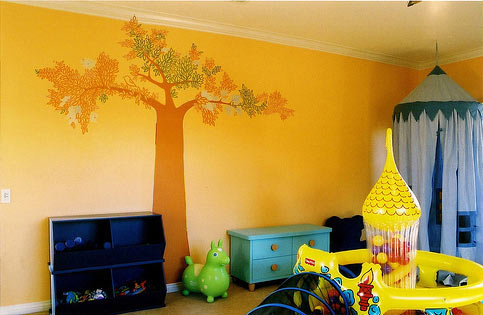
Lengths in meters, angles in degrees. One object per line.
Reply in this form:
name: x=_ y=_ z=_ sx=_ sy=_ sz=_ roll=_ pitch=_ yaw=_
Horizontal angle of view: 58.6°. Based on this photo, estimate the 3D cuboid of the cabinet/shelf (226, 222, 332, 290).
cabinet/shelf: x=0.471 y=1.360 z=5.928 sx=1.301 sy=0.786 sz=0.418 roll=-1 pitch=-2 yaw=-14

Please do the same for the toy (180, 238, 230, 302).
toy: x=-0.471 y=1.441 z=5.569 sx=0.636 sy=0.753 sz=0.284 roll=-3 pitch=-2 yaw=30

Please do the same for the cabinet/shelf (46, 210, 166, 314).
cabinet/shelf: x=-1.689 y=1.287 z=5.213 sx=1.282 sy=1.040 sz=0.466 roll=0 pitch=-5 yaw=-25

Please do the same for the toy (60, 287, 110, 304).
toy: x=-1.888 y=1.630 z=5.143 sx=0.537 sy=0.111 sz=0.317 roll=-1 pitch=-3 yaw=-19
